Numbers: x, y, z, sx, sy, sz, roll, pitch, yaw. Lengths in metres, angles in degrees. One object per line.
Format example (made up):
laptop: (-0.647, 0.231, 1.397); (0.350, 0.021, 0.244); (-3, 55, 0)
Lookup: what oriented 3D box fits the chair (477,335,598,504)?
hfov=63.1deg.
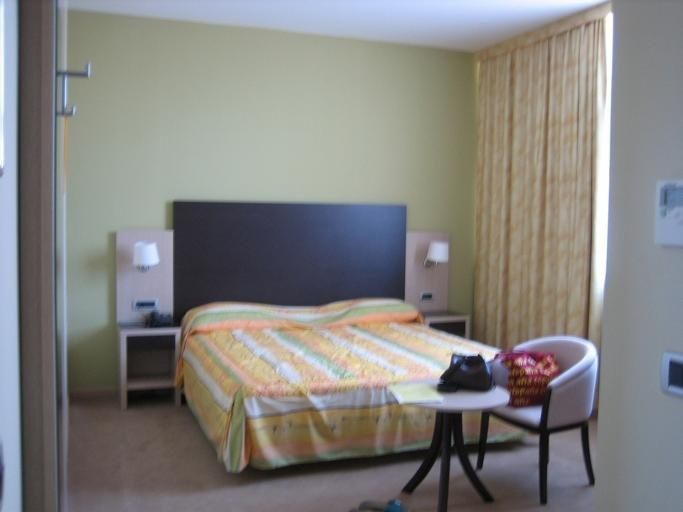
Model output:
chair: (1.195, 1.021, 3.403); (0.654, 1.071, 0.791); (2, -2, -24)

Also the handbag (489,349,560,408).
handbag: (1.147, 0.752, 3.434); (0.302, 0.371, 0.132); (3, -15, 9)

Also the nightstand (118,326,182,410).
nightstand: (-1.638, 0.950, 4.708); (0.612, 0.782, 0.377); (0, -1, -24)

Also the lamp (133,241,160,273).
lamp: (-1.664, 0.015, 4.724); (0.225, 0.253, 0.273); (-2, 6, -21)

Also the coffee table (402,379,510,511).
coffee table: (0.618, 1.044, 3.098); (0.630, 0.685, 0.596); (0, -1, -31)

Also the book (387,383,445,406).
book: (0.405, 0.747, 2.993); (0.254, 0.039, 0.311); (0, 5, -5)

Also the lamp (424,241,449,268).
lamp: (0.949, -0.011, 5.536); (0.207, 0.314, 0.253); (5, 1, -17)

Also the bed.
bed: (-0.317, 0.638, 4.318); (2.020, 1.665, 2.088); (0, 3, -16)

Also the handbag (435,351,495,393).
handbag: (0.704, 0.653, 3.127); (0.281, 0.211, 0.192); (-1, -7, 8)
